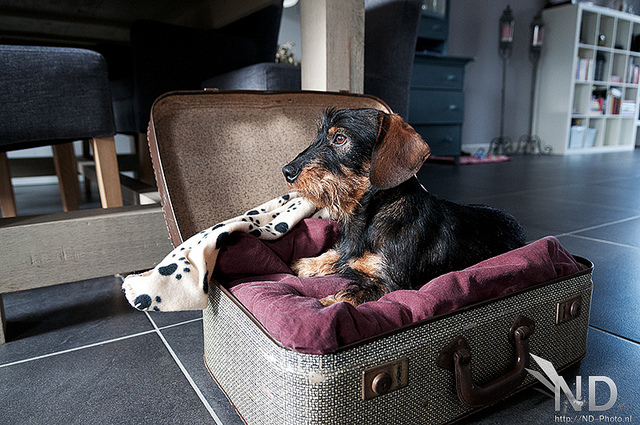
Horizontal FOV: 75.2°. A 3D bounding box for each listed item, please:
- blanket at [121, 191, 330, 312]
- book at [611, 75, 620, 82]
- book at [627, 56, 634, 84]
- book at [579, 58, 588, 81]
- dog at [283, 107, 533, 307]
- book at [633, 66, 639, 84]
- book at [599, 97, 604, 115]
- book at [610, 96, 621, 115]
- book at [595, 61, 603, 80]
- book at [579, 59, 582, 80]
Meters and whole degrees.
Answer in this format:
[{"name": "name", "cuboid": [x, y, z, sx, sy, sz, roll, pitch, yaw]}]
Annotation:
[{"name": "blanket", "cuboid": [-0.150, 0.097, 1.133, 0.689, 0.186, 0.227, -17, 41, -36]}, {"name": "book", "cuboid": [3.595, -1.626, 5.064, 0.097, 0.074, 0.054, 1, 12, 0]}, {"name": "book", "cuboid": [3.890, -1.779, 5.199, 0.051, 0.329, 0.169, 4, 14, 43]}, {"name": "book", "cuboid": [2.980, -1.622, 4.713, 0.045, 0.196, 0.192, 2, 5, 20]}, {"name": "dog", "cuboid": [0.184, -0.015, 1.075, 0.703, 0.433, 0.295, 2, -3, -7]}, {"name": "book", "cuboid": [3.950, -1.724, 5.201, 0.038, 0.160, 0.164, 4, 14, 20]}, {"name": "book", "cuboid": [3.398, -1.291, 5.026, 0.074, 0.185, 0.024, -12, 12, -33]}, {"name": "book", "cuboid": [3.626, -1.306, 5.128, 0.191, 0.197, 0.047, 3, 2, 3]}, {"name": "book", "cuboid": [3.275, -1.660, 4.878, 0.174, 0.197, 0.051, -12, 12, -33]}, {"name": "book", "cuboid": [2.942, -1.616, 4.699, 0.040, 0.211, 0.006, -10, 11, -25]}]
